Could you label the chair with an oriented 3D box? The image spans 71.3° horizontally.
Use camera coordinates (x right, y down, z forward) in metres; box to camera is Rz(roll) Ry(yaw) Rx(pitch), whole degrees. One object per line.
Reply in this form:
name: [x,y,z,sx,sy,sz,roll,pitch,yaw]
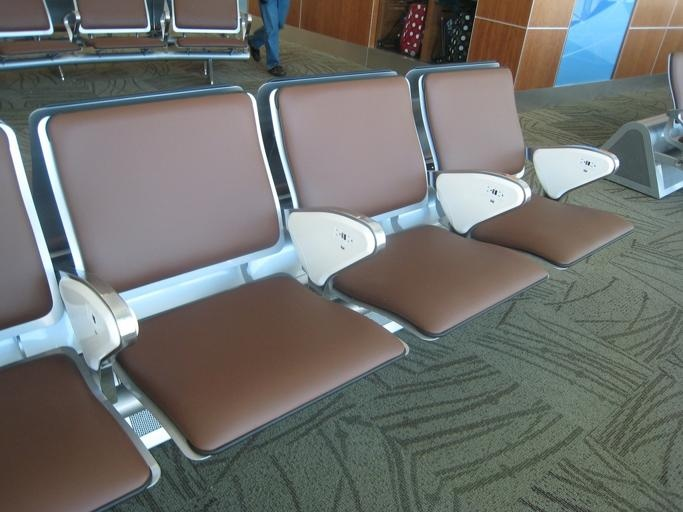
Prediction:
chair: [-0.233,-0.098,1.492,1.615,0.748,0.838,-19,33,-26]
